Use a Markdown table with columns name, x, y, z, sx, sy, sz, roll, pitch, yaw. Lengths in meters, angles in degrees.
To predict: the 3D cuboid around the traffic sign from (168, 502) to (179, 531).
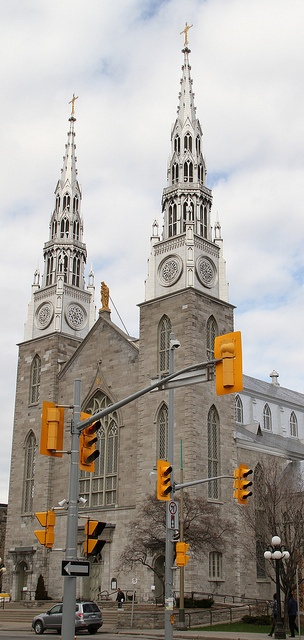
| name | x | y | z | sx | sy | sz | roll | pitch | yaw |
| --- | --- | --- | --- | --- | --- | --- | --- | --- | --- |
| traffic sign | 0.551 | 5.286 | 20.573 | 0.181 | 0.719 | 0.761 | -6 | -25 | 17 |

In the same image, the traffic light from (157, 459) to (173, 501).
| name | x | y | z | sx | sy | sz | roll | pitch | yaw |
| --- | --- | --- | --- | --- | --- | --- | --- | --- | --- |
| traffic light | 0.349 | 4.221 | 20.273 | 0.367 | 1.124 | 0.750 | 0 | -23 | 1 |

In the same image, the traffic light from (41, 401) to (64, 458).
| name | x | y | z | sx | sy | sz | roll | pitch | yaw |
| --- | --- | --- | --- | --- | --- | --- | --- | --- | --- |
| traffic light | -2.089 | 2.252 | 16.207 | 0.456 | 1.262 | 0.745 | 4 | -23 | -9 |

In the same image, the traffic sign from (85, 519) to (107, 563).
| name | x | y | z | sx | sy | sz | roll | pitch | yaw |
| --- | --- | --- | --- | --- | --- | --- | --- | --- | --- |
| traffic sign | -1.176 | 4.479 | 15.857 | 0.400 | 0.793 | 1.191 | 2 | -24 | -4 |
